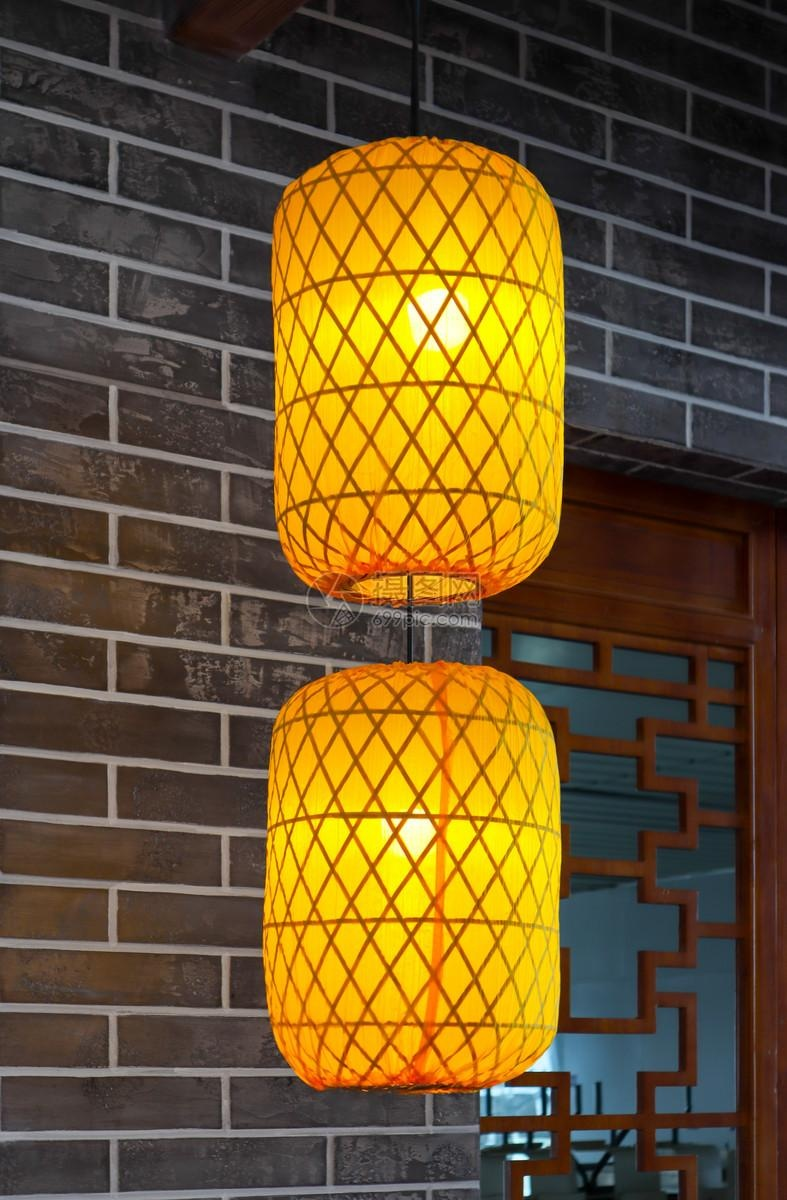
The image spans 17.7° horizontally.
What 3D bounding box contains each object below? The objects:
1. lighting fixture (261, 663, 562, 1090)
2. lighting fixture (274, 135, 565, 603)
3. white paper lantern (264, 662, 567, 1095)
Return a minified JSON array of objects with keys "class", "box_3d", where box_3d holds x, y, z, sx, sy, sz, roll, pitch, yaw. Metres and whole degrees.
[{"class":"lighting fixture","box_3d":[-0.017,0.260,2.320,0.221,0.390,0.244,5,-12,-23]},{"class":"lighting fixture","box_3d":[0.005,-0.177,2.319,0.232,0.436,0.265,-4,-16,8]},{"class":"white paper lantern","box_3d":[0.030,0.288,2.329,0.257,0.448,0.289,-11,-23,28]}]
